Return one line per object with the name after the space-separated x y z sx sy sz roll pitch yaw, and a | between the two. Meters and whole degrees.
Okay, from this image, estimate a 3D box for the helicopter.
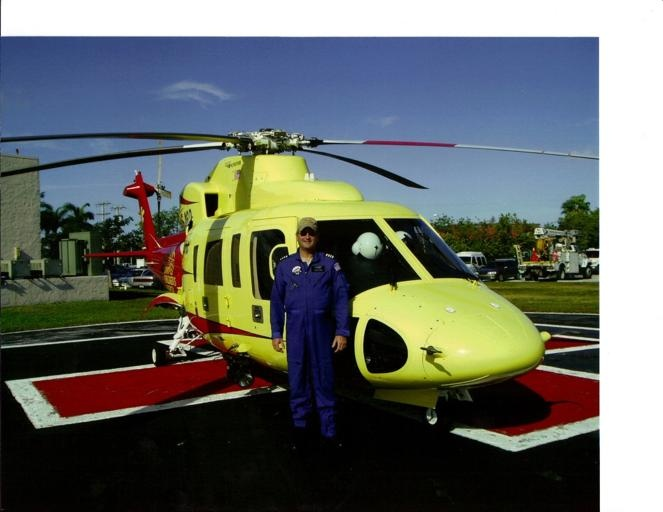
-0.641 0.105 6.935 4.638 2.063 5.960 -3 5 -33 | helicopter

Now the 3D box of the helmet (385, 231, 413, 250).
0.848 -0.197 5.932 0.205 0.210 0.187 -1 9 8 | helmet

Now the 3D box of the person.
-0.249 0.766 5.476 0.877 2.291 0.500 3 11 30 | person

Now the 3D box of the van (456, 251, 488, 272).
7.027 0.237 25.323 1.220 1.058 2.042 -4 -6 29 | van

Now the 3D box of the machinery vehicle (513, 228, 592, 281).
13.678 -0.095 32.746 6.639 2.966 2.670 -3 3 -40 | machinery vehicle

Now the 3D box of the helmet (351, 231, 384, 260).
0.390 -0.123 5.746 0.321 0.233 0.314 4 8 -28 | helmet

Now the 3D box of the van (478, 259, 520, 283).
10.281 0.922 31.179 1.398 0.828 2.545 -4 -5 40 | van
